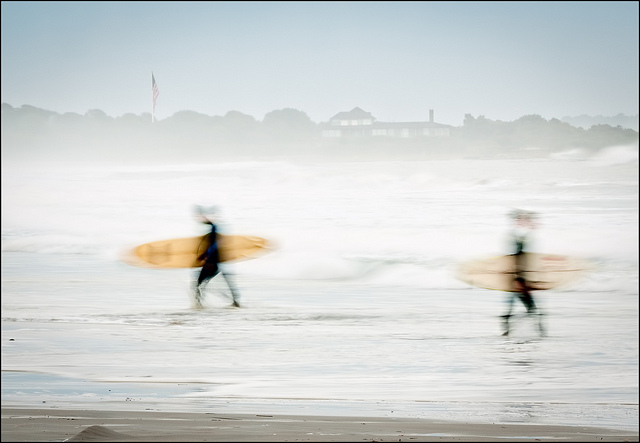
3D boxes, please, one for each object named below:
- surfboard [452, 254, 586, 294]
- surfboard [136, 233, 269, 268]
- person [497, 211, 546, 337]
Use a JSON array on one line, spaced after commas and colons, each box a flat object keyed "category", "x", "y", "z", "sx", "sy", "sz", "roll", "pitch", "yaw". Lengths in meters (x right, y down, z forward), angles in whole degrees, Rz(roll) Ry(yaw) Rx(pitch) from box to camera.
[{"category": "surfboard", "x": 2.258, "y": 0.571, "z": 11.593, "sx": 2.040, "sy": 0.426, "sz": 0.084, "roll": -2, "pitch": -9, "yaw": -30}, {"category": "surfboard", "x": -1.318, "y": 0.337, "z": 11.727, "sx": 1.441, "sy": 0.367, "sz": 0.187, "roll": -1, "pitch": -2, "yaw": -6}, {"category": "person", "x": 2.234, "y": 0.586, "z": 11.562, "sx": 0.525, "sy": 1.352, "sz": 0.180, "roll": -3, "pitch": -2, "yaw": 6}]
